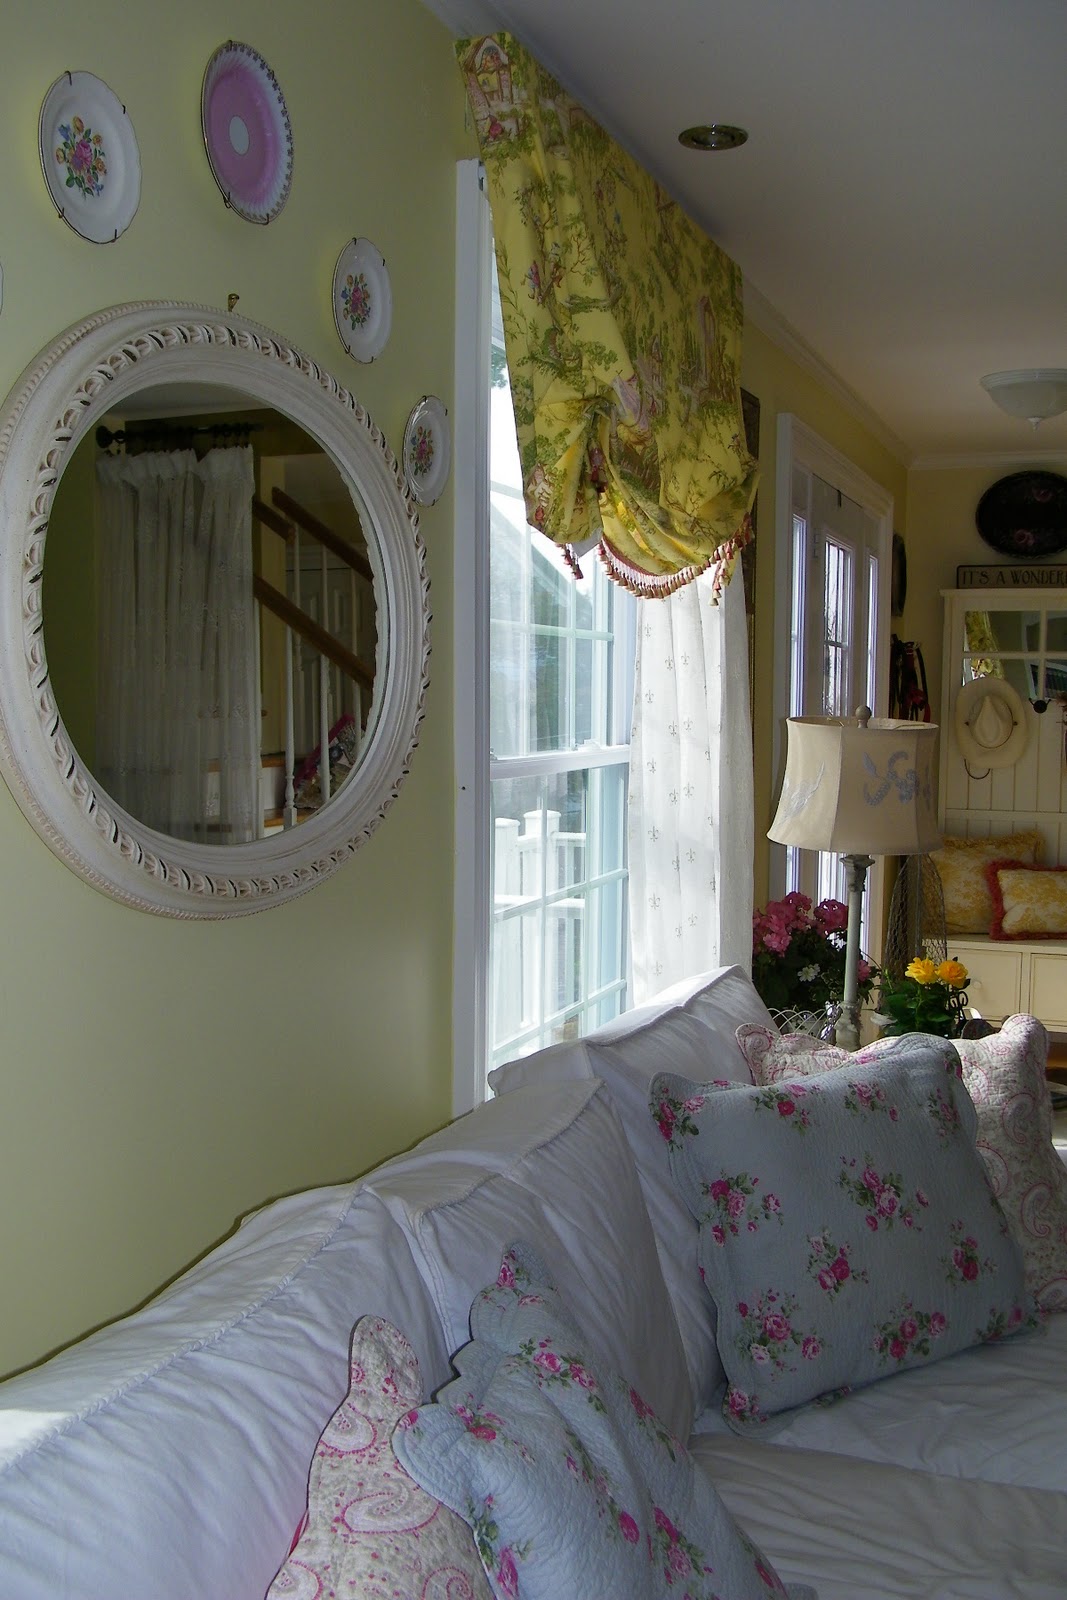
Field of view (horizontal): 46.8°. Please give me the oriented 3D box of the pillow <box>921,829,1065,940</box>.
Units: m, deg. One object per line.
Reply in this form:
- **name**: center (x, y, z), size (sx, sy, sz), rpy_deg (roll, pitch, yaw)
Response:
- **pillow**: center (2.033, 0.381, 5.427), size (0.420, 0.454, 0.164), rpy_deg (1, -19, -3)

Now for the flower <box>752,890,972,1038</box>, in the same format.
- **flower**: center (0.749, 0.407, 2.958), size (0.340, 0.337, 0.449), rpy_deg (-10, 16, -38)
